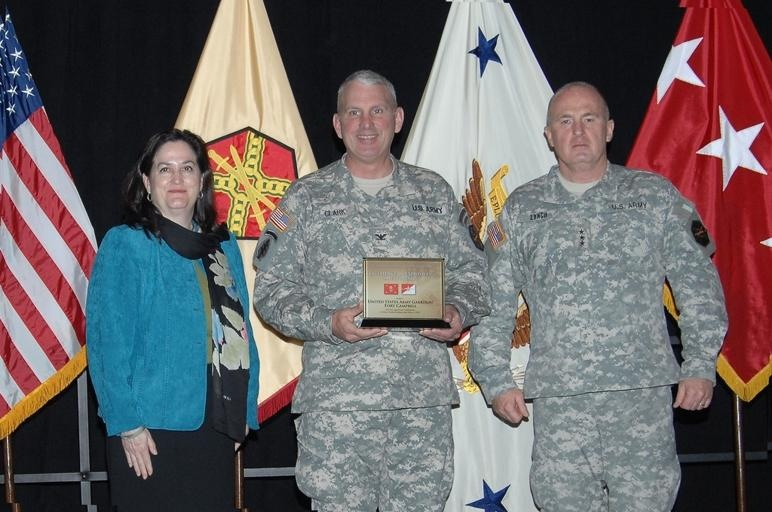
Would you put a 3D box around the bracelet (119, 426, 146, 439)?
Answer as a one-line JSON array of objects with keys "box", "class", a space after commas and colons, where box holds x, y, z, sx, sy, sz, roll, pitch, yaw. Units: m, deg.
[{"box": [-1.192, 0.822, 3.655, 0.109, 0.053, 0.029, -4, 1, -5], "class": "bracelet"}]
